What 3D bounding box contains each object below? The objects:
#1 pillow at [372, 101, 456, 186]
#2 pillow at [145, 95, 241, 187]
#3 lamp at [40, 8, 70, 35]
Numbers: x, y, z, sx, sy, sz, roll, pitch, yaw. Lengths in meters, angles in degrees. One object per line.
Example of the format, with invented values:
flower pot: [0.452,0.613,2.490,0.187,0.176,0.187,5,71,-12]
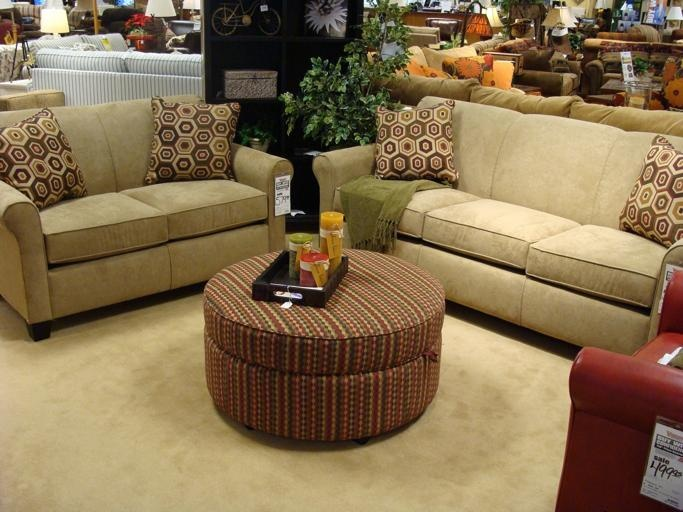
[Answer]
pillow: [0.516,-0.749,3.809,0.564,0.599,0.216,1,-10,15]
pillow: [-1.021,-0.748,3.732,0.634,0.672,0.236,0,-1,-8]
lamp: [-3.948,-3.204,7.564,0.347,0.382,0.351,-12,26,-28]
